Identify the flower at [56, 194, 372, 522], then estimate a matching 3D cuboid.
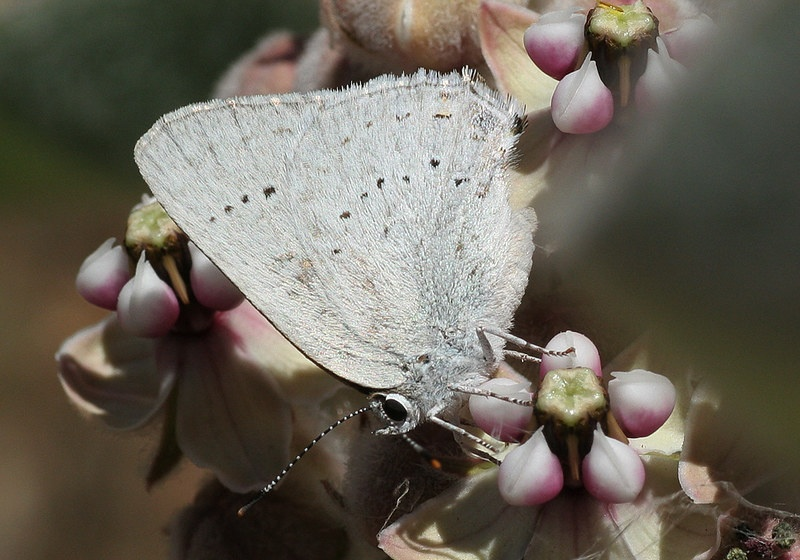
[{"bbox_3d":[-0.286,0.189,1.381,0.422,0.205,0.447,-36,62,-14],"label":"flower"}]
